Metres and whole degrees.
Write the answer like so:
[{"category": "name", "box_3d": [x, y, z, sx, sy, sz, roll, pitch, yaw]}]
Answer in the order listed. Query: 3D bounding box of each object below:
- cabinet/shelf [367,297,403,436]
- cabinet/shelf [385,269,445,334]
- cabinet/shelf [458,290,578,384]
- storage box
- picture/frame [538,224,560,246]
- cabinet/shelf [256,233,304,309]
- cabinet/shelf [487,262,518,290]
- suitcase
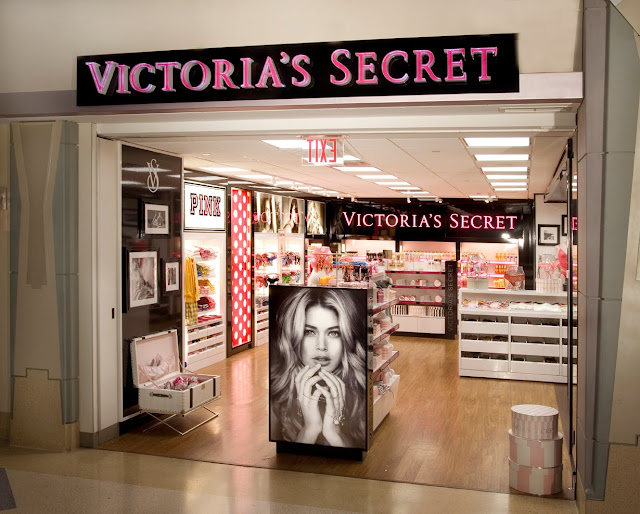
[{"category": "cabinet/shelf", "box_3d": [0.842, 1.483, 6.394, 0.544, 1.588, 1.687, -1, 0, 8]}, {"category": "cabinet/shelf", "box_3d": [2.252, 1.060, 11.238, 1.548, 1.553, 0.503, -1, -4, 16]}, {"category": "cabinet/shelf", "box_3d": [3.235, 1.387, 8.051, 1.740, 1.337, 0.611, 0, -3, 16]}, {"category": "storage box", "box_3d": [-1.842, 1.453, 6.350, 0.822, 0.910, 1.057, -1, -2, 23]}, {"category": "picture/frame", "box_3d": [5.365, -0.524, 11.520, 0.483, 0.527, 0.041, 1, 2, 11]}, {"category": "cabinet/shelf", "box_3d": [-0.873, 0.237, 9.952, 0.572, 1.603, 1.687, 2, 3, 28]}, {"category": "cabinet/shelf", "box_3d": [4.571, 0.487, 12.366, 0.703, 0.687, 0.374, 0, -3, 11]}, {"category": "suitcase", "box_3d": [-1.804, 1.638, 6.504, 0.954, 1.194, 1.280, -1, 0, 15]}]
